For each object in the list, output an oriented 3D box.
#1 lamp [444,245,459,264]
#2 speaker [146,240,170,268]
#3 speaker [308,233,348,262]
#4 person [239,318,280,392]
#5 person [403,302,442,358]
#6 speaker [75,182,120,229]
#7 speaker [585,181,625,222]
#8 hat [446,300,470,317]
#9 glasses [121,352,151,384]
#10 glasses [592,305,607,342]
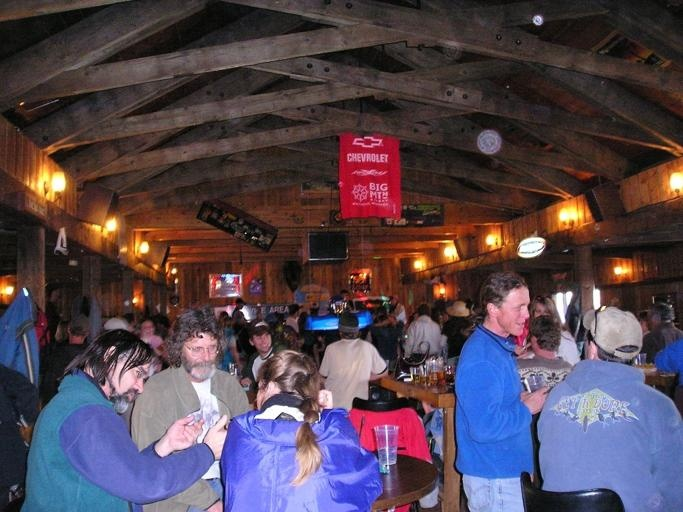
[{"bbox_3d":[3.082,-0.053,17.477,0.433,0.680,0.242,8,-18,-26],"label":"lamp"},{"bbox_3d":[-4.917,-0.087,16.406,0.301,0.543,0.509,17,8,-44],"label":"speaker"},{"bbox_3d":[-0.357,-0.273,14.663,1.073,0.630,0.782,0,-16,-6],"label":"speaker"},{"bbox_3d":[-0.804,1.053,6.310,0.480,0.755,0.435,-12,-9,0],"label":"person"},{"bbox_3d":[1.314,1.118,9.659,0.607,0.855,0.443,-13,26,-16],"label":"person"},{"bbox_3d":[-3.851,-0.817,9.645,0.294,0.563,0.587,10,-22,17],"label":"speaker"},{"bbox_3d":[4.551,-0.844,10.582,0.520,0.796,0.798,-11,4,12],"label":"speaker"},{"bbox_3d":[1.916,0.886,10.146,0.400,0.176,0.443,-1,17,-1],"label":"hat"},{"bbox_3d":[-1.192,0.657,3.586,0.120,0.092,0.155,10,-42,-29],"label":"glasses"},{"bbox_3d":[1.719,0.445,4.172,0.088,0.239,0.164,2,-7,35],"label":"glasses"}]
